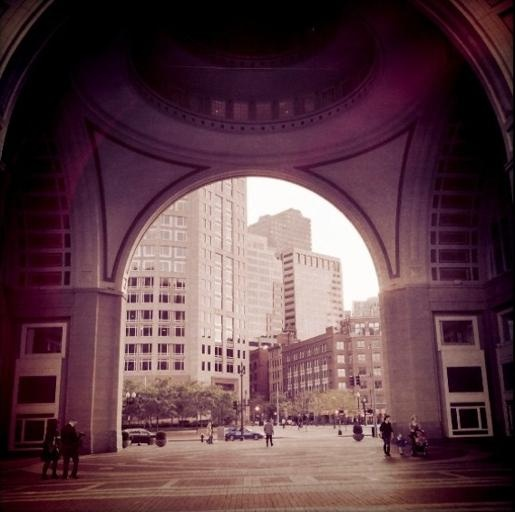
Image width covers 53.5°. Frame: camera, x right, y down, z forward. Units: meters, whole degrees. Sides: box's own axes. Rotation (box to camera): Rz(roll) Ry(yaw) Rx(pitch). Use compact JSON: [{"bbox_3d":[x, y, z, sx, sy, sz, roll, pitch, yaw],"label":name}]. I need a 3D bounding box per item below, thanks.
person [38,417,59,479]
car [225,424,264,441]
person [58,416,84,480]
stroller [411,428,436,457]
[{"bbox_3d":[-6.081,5.683,15.049,0.442,1.652,2.159,4,-19,-21],"label":"person"},{"bbox_3d":[-1.343,15.910,45.461,3.086,1.143,4.336,-2,-20,-4],"label":"car"},{"bbox_3d":[-5.529,5.758,15.142,0.583,1.609,2.290,4,-19,-19],"label":"person"},{"bbox_3d":[6.270,7.334,19.540,0.481,0.808,1.348,0,-43,0],"label":"stroller"}]
